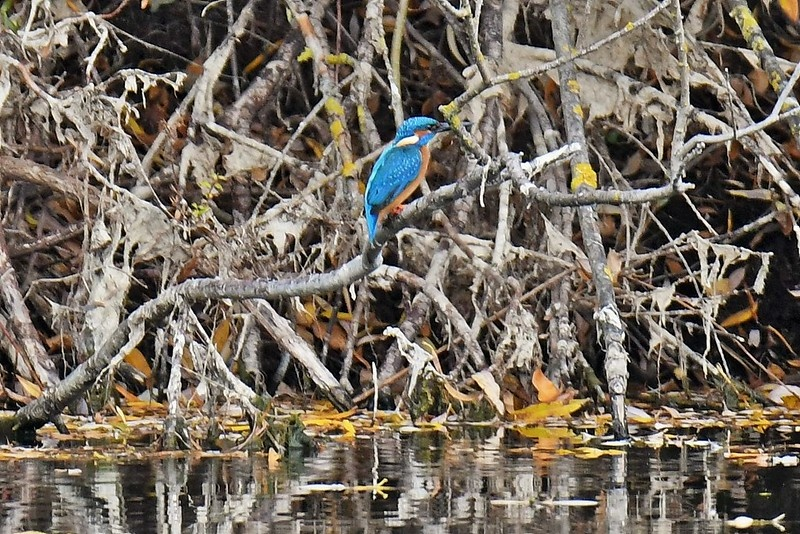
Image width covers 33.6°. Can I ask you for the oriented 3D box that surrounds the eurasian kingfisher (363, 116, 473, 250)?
[{"bbox_3d":[-0.019,-0.509,6.969,0.563,0.523,0.277,-11,16,-38],"label":"eurasian kingfisher"}]
